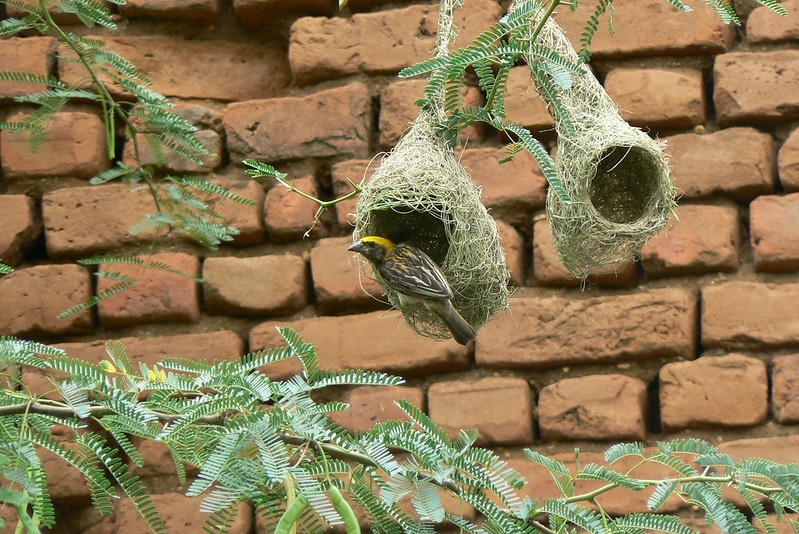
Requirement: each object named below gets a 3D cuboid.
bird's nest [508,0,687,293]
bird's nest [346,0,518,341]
[{"bbox_3d":[0.536,-0.240,3.625,0.313,0.529,0.313,-31,40,-33],"label":"bird's nest"},{"bbox_3d":[0.104,-0.123,3.640,0.295,0.554,0.406,-31,40,-33],"label":"bird's nest"}]
